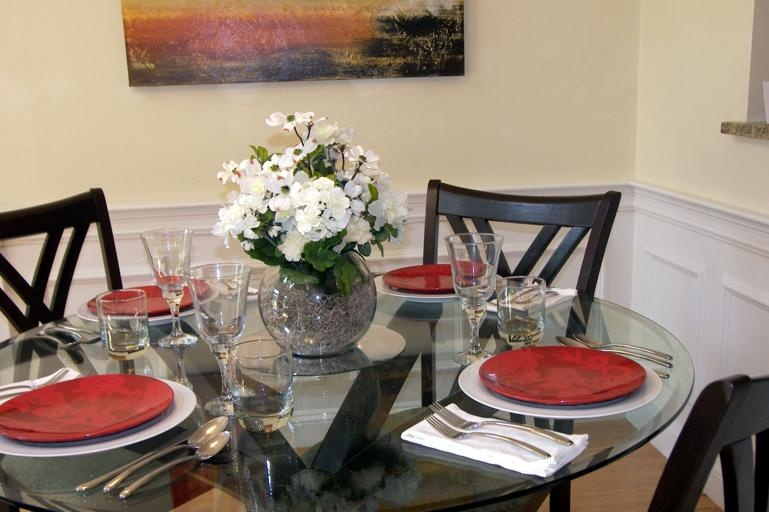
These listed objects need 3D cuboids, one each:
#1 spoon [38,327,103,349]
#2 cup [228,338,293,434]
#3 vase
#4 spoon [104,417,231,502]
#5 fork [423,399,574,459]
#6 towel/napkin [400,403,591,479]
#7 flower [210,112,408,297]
[{"bbox_3d":[-0.909,0.231,1.609,0.140,0.033,0.083,14,16,35],"label":"spoon"},{"bbox_3d":[-0.246,0.271,1.132,0.121,0.185,0.075,-10,20,-18],"label":"cup"},{"bbox_3d":[-0.178,0.087,1.415,0.276,0.190,0.268,-4,10,-9],"label":"vase"},{"bbox_3d":[-0.396,0.374,1.072,0.071,0.046,0.274,12,20,26],"label":"spoon"},{"bbox_3d":[0.215,0.325,1.095,0.282,0.044,0.084,11,24,27],"label":"fork"},{"bbox_3d":[0.207,0.353,1.069,0.218,0.032,0.144,7,13,31],"label":"towel/napkin"},{"bbox_3d":[-0.182,-0.135,1.409,0.461,0.433,0.251,1,20,11],"label":"flower"}]
